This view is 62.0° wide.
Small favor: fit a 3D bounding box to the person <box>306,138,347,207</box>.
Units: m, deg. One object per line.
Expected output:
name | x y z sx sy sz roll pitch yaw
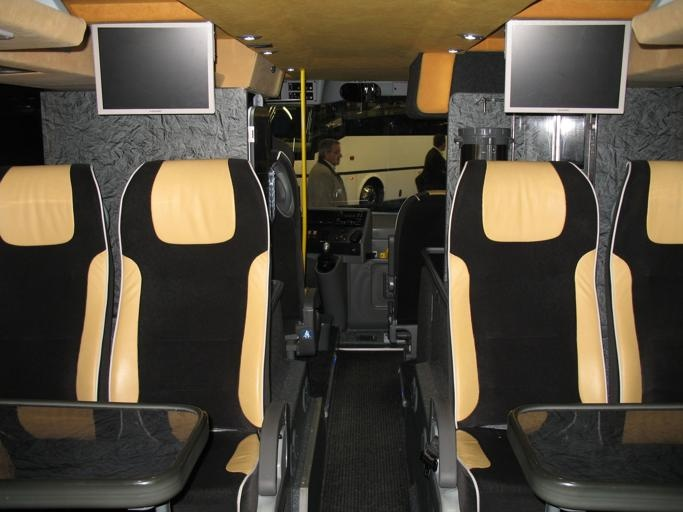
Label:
person | -0.130 -0.636 4.905 0.328 0.740 0.466 4 21 2
